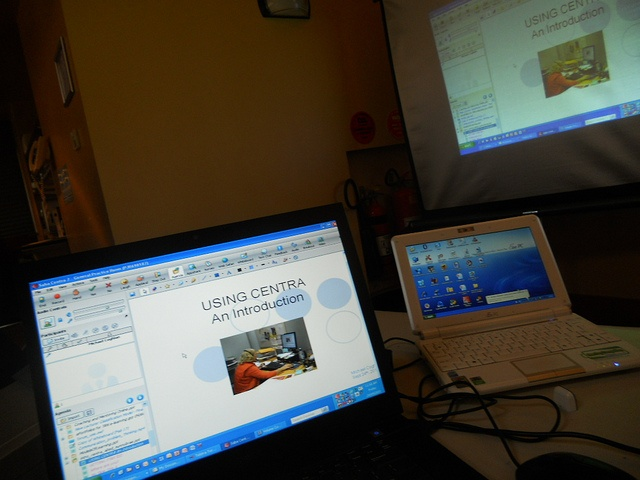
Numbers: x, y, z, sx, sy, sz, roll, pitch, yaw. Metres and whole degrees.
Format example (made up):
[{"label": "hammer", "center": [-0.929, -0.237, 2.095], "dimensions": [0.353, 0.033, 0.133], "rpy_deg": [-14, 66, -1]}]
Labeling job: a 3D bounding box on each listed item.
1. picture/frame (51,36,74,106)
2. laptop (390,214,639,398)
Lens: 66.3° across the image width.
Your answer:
[{"label": "picture/frame", "center": [-0.985, -0.658, 1.882], "dimensions": [0.014, 0.180, 0.299], "rpy_deg": [-13, -3, -20]}, {"label": "laptop", "center": [0.472, 0.176, 1.323], "dimensions": [0.504, 0.308, 0.458], "rpy_deg": [-15, 23, -4]}]
